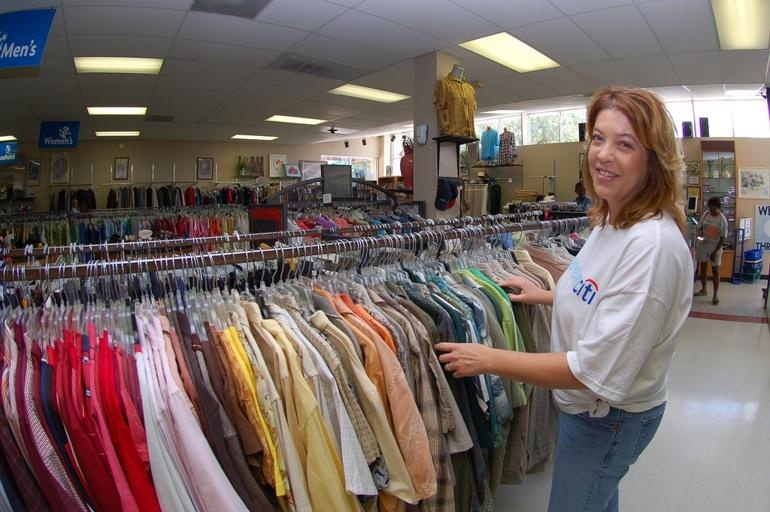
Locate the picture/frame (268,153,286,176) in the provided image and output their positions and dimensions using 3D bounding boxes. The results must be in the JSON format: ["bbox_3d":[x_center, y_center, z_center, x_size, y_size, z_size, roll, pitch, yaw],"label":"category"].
[{"bbox_3d":[-3.199,-2.667,13.619,0.594,0.770,0.057,-4,4,-39],"label":"picture/frame"}]

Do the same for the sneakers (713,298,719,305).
[{"bbox_3d":[4.974,0.659,7.053,0.065,0.063,0.139,-4,-1,23],"label":"sneakers"}]

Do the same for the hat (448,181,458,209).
[{"bbox_3d":[0.976,-0.881,6.692,0.098,0.296,0.217,2,5,28],"label":"hat"}]

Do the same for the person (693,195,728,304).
[{"bbox_3d":[5.240,-0.151,7.549,0.427,1.576,1.552,-1,7,34],"label":"person"}]

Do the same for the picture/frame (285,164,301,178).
[{"bbox_3d":[-2.772,-2.509,13.774,0.342,0.401,0.038,-4,1,-34],"label":"picture/frame"}]

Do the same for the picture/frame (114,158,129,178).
[{"bbox_3d":[-6.599,-2.190,11.656,0.381,0.390,0.104,-7,6,-21],"label":"picture/frame"}]
